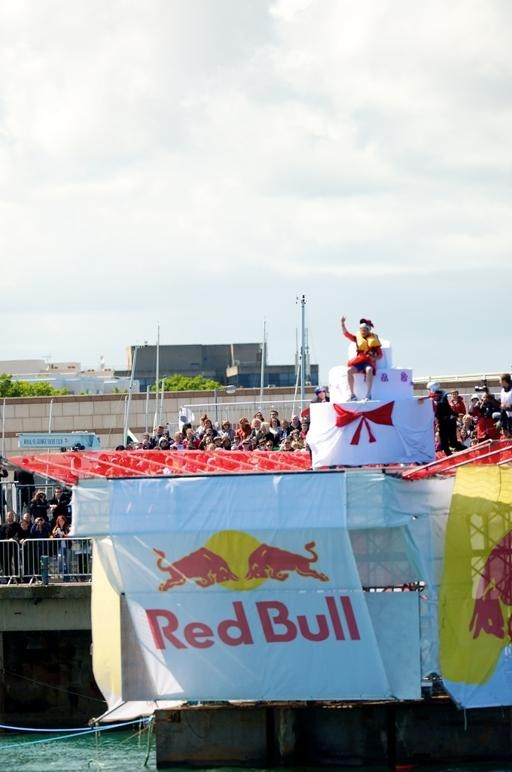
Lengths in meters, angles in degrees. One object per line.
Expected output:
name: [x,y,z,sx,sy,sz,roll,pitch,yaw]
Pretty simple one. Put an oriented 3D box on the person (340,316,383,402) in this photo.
person: [2.062,-0.520,38.070,0.692,1.609,0.518,0,-1,26]
